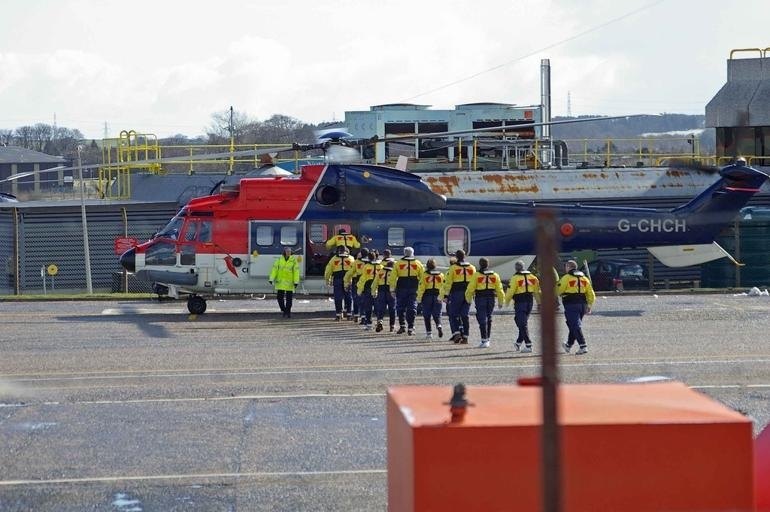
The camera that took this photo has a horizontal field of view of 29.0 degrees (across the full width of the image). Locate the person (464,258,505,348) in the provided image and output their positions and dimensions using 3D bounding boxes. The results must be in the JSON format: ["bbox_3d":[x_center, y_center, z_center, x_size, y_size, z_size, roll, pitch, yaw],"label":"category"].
[{"bbox_3d":[2.808,1.360,42.936,1.104,2.455,1.163,0,0,2],"label":"person"}]

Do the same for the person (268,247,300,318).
[{"bbox_3d":[-3.238,0.790,46.168,0.842,2.059,0.955,0,0,-3],"label":"person"}]

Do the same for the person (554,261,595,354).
[{"bbox_3d":[5.263,1.381,42.074,1.310,2.758,1.027,0,-1,-37],"label":"person"}]

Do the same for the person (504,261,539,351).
[{"bbox_3d":[3.855,1.422,42.270,0.919,2.490,1.314,0,10,5],"label":"person"}]

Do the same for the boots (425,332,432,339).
[{"bbox_3d":[1.213,2.361,43.641,0.099,0.190,0.213,-2,16,-7],"label":"boots"}]
